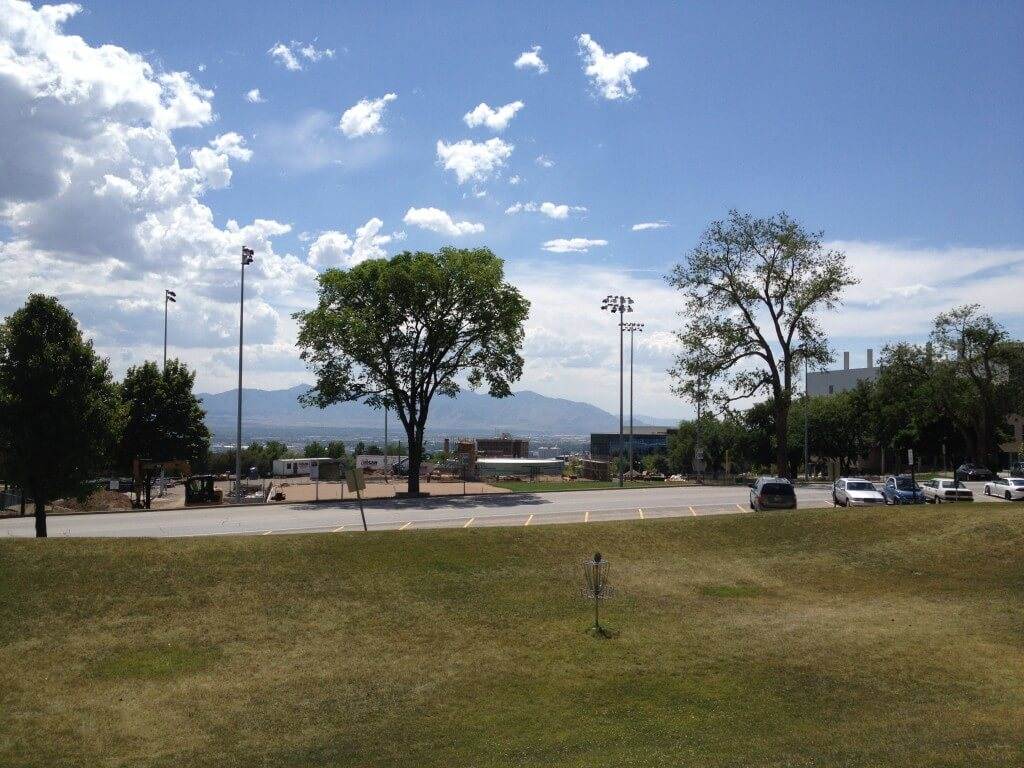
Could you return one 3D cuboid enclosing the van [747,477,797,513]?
[{"bbox_3d":[11.695,4.991,43.184,1.251,1.090,2.168,-1,2,9],"label":"van"}]
